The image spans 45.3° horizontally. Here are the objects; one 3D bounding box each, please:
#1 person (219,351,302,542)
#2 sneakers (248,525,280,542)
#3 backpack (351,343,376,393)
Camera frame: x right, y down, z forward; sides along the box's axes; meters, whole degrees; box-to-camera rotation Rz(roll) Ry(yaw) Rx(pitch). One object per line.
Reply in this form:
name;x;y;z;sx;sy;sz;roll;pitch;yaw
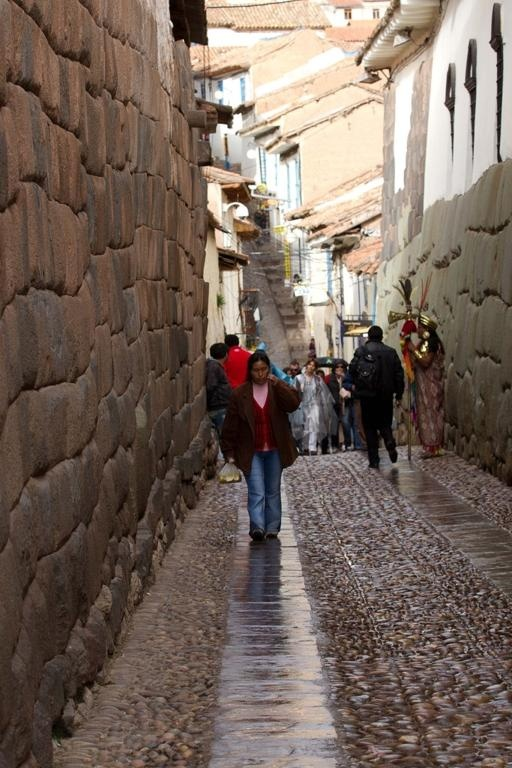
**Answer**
person;0.036;0.632;6.066;0.758;1.877;0.404;-1;-2;-7
sneakers;0.080;1.507;5.938;0.273;0.118;0.200;-2;-4;-7
backpack;1.607;-0.163;9.491;0.425;0.859;0.375;-3;-6;-21
